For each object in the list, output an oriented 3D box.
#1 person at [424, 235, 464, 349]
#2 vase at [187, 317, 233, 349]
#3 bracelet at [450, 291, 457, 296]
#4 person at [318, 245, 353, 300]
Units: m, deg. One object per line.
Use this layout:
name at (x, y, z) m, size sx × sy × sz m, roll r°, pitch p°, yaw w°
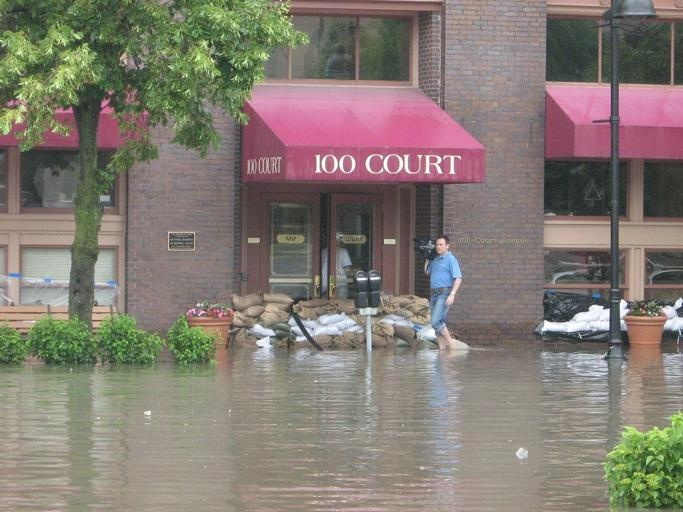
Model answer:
person at (1.768, 0.593, 32.069) m, size 0.581 × 1.970 × 1.090 m, roll -2°, pitch -3°, yaw 2°
vase at (-2.257, 1.313, 32.101) m, size 0.622 × 0.417 × 0.605 m, roll 0°, pitch 0°, yaw 0°
bracelet at (1.923, 0.602, 31.633) m, size 0.097 × 0.086 × 0.089 m, roll 0°, pitch 0°, yaw -25°
person at (-0.087, 0.248, 34.120) m, size 0.566 × 0.969 × 0.185 m, roll 0°, pitch -3°, yaw -31°
